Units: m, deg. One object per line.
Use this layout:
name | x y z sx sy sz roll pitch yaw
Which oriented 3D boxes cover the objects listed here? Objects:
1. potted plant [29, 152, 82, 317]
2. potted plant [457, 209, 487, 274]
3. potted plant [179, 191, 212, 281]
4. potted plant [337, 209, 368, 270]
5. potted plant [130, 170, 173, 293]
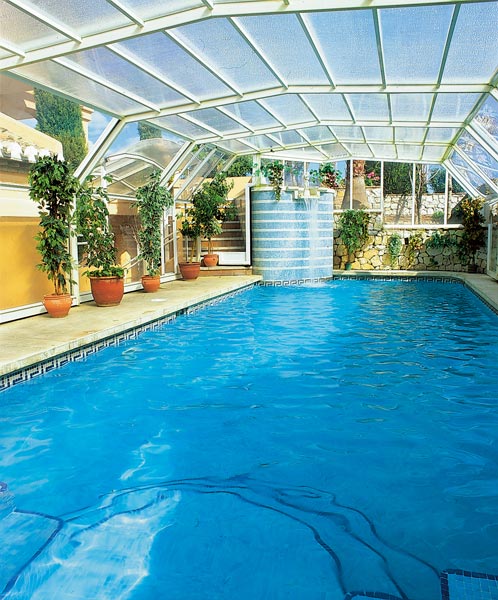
potted plant | -3.262 -1.082 7.417 0.733 2.771 0.519 -4 6 -34
potted plant | 7.907 -2.266 15.552 0.836 2.506 0.825 1 5 18
potted plant | -1.738 -2.196 14.377 1.082 2.944 2.514 -1 5 -7
potted plant | 4.004 -2.406 16.844 1.416 1.774 0.863 9 -10 -40
potted plant | -2.314 -1.680 10.720 0.793 2.949 0.659 -2 5 -14
